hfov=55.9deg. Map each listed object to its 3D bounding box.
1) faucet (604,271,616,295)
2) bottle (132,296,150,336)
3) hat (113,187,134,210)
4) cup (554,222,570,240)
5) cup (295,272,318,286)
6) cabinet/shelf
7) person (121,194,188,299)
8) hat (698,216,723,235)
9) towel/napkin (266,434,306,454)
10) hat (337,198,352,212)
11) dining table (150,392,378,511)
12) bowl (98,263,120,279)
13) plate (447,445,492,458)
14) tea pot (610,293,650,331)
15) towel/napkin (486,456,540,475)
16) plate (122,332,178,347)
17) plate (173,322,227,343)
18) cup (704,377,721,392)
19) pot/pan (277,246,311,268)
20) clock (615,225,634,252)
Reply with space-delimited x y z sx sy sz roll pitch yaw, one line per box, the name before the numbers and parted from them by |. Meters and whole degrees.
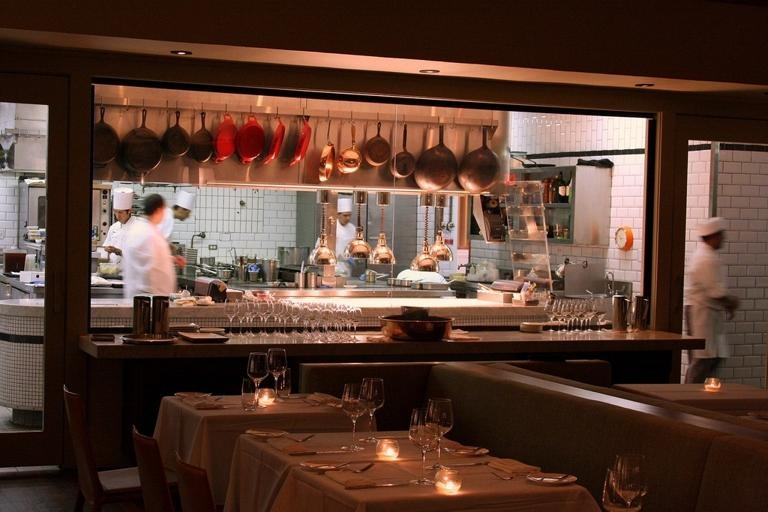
faucet | 2.828 0.329 9.023 0.110 0.282 0.254 0 1 18
bottle | -1.766 0.433 5.213 0.170 0.278 0.080 0 1 15
hat | -2.966 -0.645 8.250 0.265 0.284 0.257 4 8 -28
cup | 2.290 -0.325 9.312 0.183 0.186 0.174 2 -6 0
cup | -0.938 0.290 8.856 0.282 0.195 0.492 0 1 -9
cabinet/shelf | 2.275 -0.649 9.790 0.503 0.867 1.541 -2 4 -24
person | -1.999 -0.087 6.129 0.417 0.877 0.345 0 1 -19
hat | 2.991 -0.278 6.607 0.190 0.119 0.146 -2 -3 36
towel/napkin | -0.455 0.904 3.469 0.178 0.024 0.266 0 1 -25
hat | -0.580 -0.742 10.510 0.211 0.167 0.212 1 -4 3
dining table | -0.585 0.968 3.557 0.820 0.322 0.803 1 0 -16
bowl | -3.343 0.188 8.771 0.248 0.096 0.199 7 -4 -26
plate | 0.411 0.946 3.502 0.231 0.026 0.072 0 -2 35
tea pot | 2.176 0.507 6.548 0.390 0.390 0.213 -1 0 -2
towel/napkin | 0.606 0.983 3.384 0.152 0.029 0.198 2 -4 -20
plate | -1.682 0.594 5.165 0.378 0.074 0.289 0 1 -19
plate | -1.379 0.580 5.420 0.365 0.094 0.562 0 1 -16
cup | 2.205 0.858 4.824 0.092 0.070 0.093 2 -5 0
pot/pan | -1.352 0.002 10.551 0.394 0.237 0.355 2 -3 -2
clock | 2.977 -0.216 8.891 0.108 0.337 0.321 2 -1 -22
